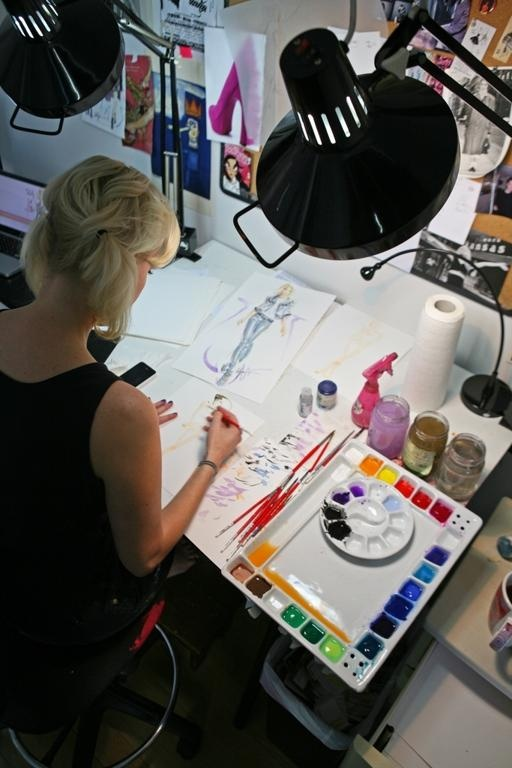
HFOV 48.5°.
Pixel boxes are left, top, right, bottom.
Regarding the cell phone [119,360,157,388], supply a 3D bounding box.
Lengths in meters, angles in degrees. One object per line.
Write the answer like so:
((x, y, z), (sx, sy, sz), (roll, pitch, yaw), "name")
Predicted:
((-0.278, -0.021, 1.340), (0.039, 0.007, 0.071), (32, 52, 18), "cell phone")

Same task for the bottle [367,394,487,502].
((0.327, 0.129, 1.114), (0.209, 0.126, 0.078), (33, 64, 17), "bottle")

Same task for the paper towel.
((0.366, -0.058, 1.168), (0.084, 0.222, 0.090), (-11, 43, -13), "paper towel")

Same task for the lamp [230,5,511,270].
((0.106, -0.252, 0.634), (0.227, 0.226, 0.180), (17, 32, 9), "lamp")

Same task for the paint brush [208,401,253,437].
((-0.067, 0.070, 1.275), (0.135, 0.037, 0.041), (43, -6, -22), "paint brush")
